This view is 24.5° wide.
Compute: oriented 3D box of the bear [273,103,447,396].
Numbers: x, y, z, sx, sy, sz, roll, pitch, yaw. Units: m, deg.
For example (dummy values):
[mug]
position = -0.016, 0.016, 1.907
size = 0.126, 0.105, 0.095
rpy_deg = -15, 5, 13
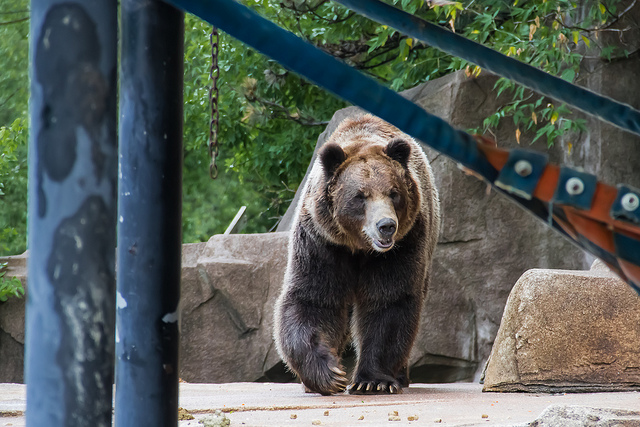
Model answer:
[bear]
position = 0.471, 0.426, 15.267
size = 1.575, 2.943, 3.819
rpy_deg = 2, -3, 4
